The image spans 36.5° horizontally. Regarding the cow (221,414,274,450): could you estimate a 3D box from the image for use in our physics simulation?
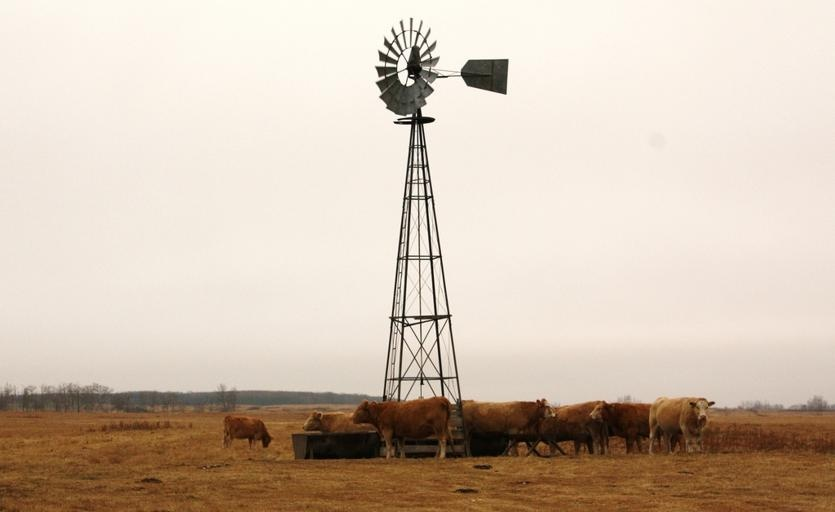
[{"bbox_3d":[-13.342,13.763,99.201,1.628,2.427,4.183,-4,-6,37],"label":"cow"}]
